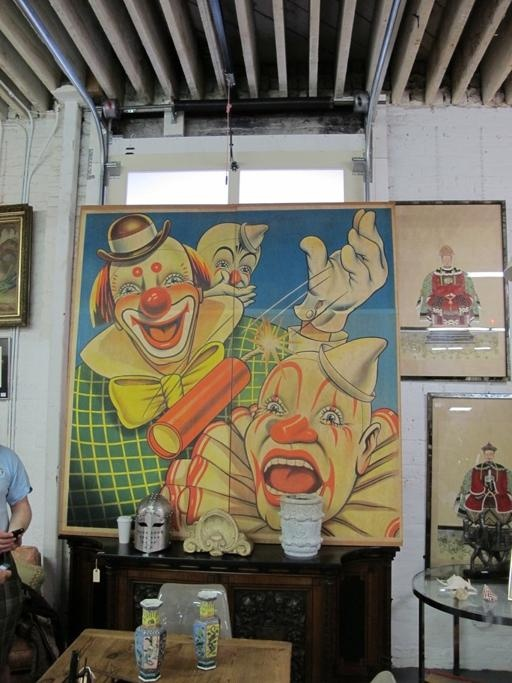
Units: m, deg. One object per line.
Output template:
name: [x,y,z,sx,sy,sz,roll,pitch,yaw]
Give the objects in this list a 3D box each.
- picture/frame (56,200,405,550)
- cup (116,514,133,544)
picture/frame: [-0.086,0.222,3.896,2.129,1.792,0.039,2,-10,0]
cup: [-0.649,0.951,3.787,0.119,0.139,0.112,1,-2,0]
